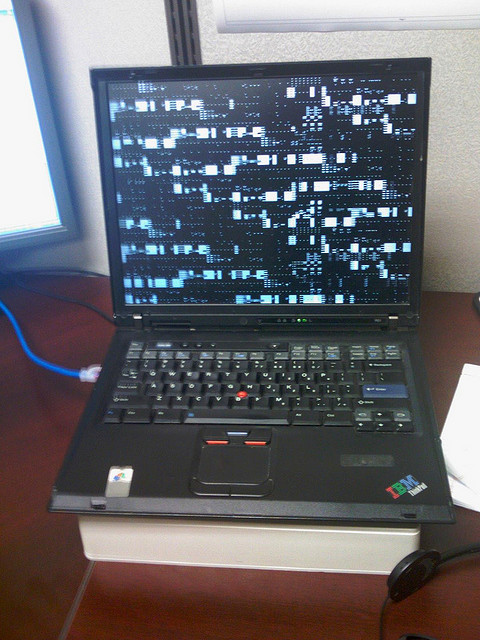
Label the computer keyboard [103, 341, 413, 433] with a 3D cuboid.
[{"bbox_3d":[0.021,0.062,0.501,0.303,0.029,0.119,0,44,5],"label":"computer keyboard"}]

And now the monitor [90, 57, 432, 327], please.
[{"bbox_3d":[0.028,-0.130,0.526,0.327,0.252,0.024,-1,18,0],"label":"monitor"}]
